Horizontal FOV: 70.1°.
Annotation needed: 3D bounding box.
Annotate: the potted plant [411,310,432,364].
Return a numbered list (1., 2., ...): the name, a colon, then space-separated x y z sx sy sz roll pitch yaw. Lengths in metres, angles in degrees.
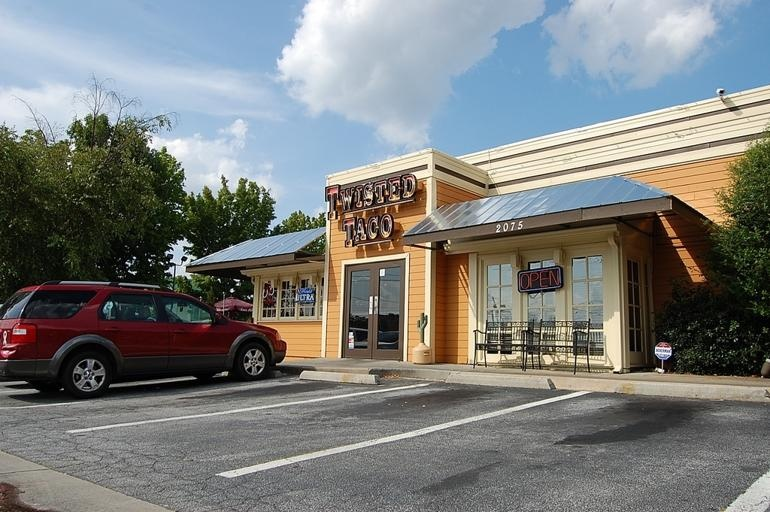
1. potted plant: 1.100 2.441 16.388 0.488 1.503 0.625 -3 -10 14
